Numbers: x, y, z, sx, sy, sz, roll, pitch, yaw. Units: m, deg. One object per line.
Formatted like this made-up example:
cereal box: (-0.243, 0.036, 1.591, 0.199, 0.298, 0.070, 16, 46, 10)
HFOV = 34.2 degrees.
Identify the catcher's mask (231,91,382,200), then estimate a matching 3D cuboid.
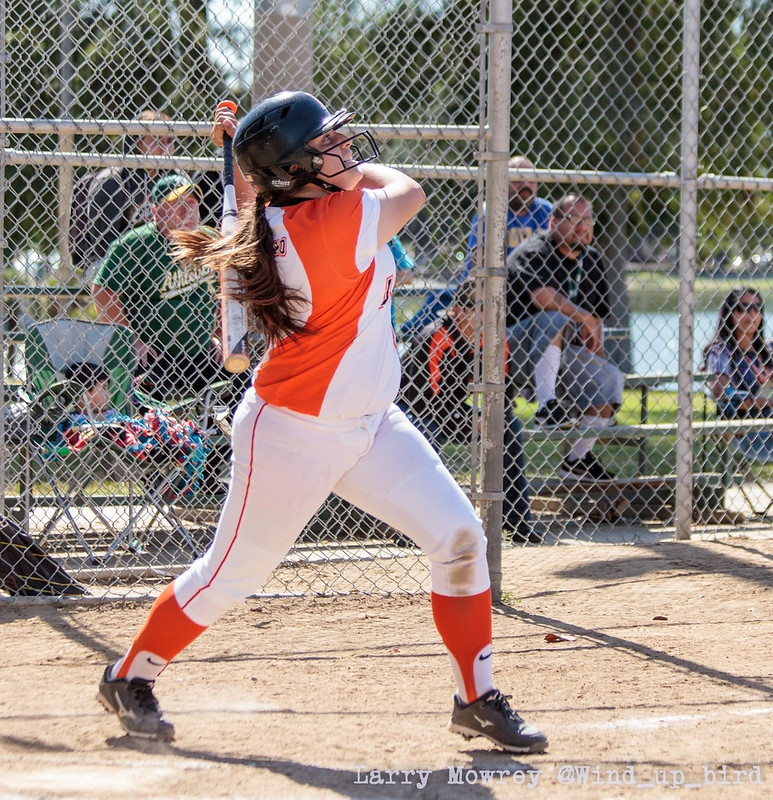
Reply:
catcher's mask: (-0.275, -0.770, 3.754, 0.353, 0.297, 0.154, -1, 11, -6)

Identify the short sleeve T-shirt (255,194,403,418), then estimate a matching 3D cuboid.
short sleeve T-shirt: (-0.173, -0.283, 3.769, 0.451, 0.683, 0.229, -1, 11, -4)

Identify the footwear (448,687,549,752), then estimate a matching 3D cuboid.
footwear: (0.358, 0.992, 3.989, 0.417, 0.157, 0.127, 10, 7, 15)
